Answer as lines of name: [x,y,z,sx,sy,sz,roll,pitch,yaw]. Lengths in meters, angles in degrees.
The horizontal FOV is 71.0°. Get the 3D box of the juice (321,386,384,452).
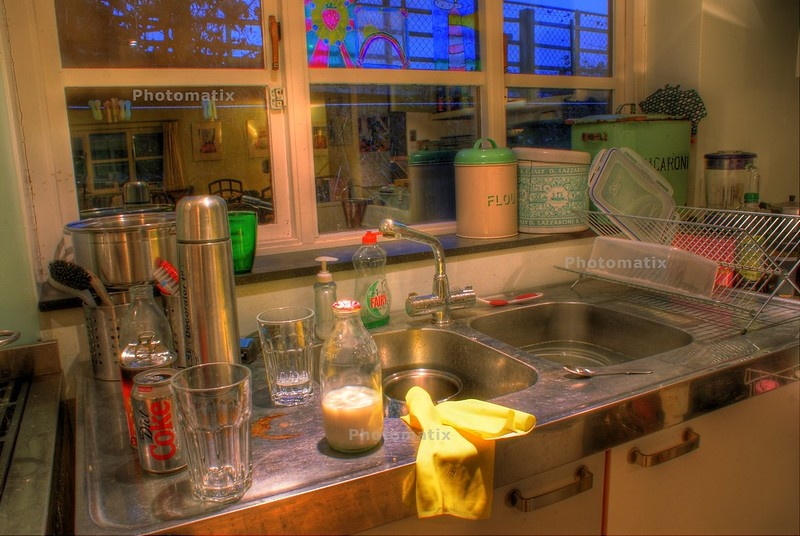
juice: [-0.113,0.346,1.288,0.151,0.116,0.149,-4,-10,14]

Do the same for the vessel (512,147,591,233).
vessel: [0.573,-0.318,2.283,0.334,0.306,0.331,-7,10,-30]

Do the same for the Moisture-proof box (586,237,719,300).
Moisture-proof box: [0.844,-0.019,1.879,0.285,0.072,0.212,13,7,42]

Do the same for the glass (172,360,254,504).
glass: [-0.372,0.336,1.165,0.155,0.246,0.154,-12,14,-22]

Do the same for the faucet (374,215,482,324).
faucet: [0.074,-0.005,1.858,0.347,0.361,0.195,-12,15,-26]

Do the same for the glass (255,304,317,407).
glass: [-0.291,0.218,1.494,0.149,0.216,0.237,-10,13,-15]

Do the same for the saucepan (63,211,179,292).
saucepan: [-0.738,-0.049,1.518,0.250,0.121,0.242,0,12,2]
